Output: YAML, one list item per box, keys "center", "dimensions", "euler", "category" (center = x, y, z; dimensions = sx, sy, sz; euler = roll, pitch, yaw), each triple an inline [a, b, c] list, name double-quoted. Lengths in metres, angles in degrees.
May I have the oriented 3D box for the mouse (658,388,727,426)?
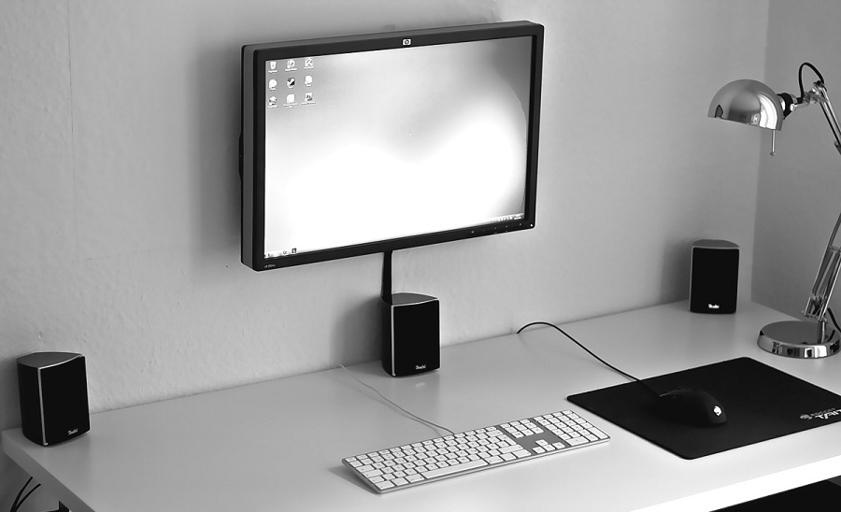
- center: [0.683, 0.382, 1.728]
  dimensions: [0.140, 0.046, 0.085]
  euler: [15, 22, 42]
  category: "mouse"

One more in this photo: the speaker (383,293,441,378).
- center: [-0.042, 0.228, 1.986]
  dimensions: [0.160, 0.205, 0.164]
  euler: [6, 12, 34]
  category: "speaker"

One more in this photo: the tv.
- center: [-0.061, -0.302, 1.913]
  dimensions: [0.901, 0.555, 0.092]
  euler: [-12, 25, -31]
  category: "tv"
